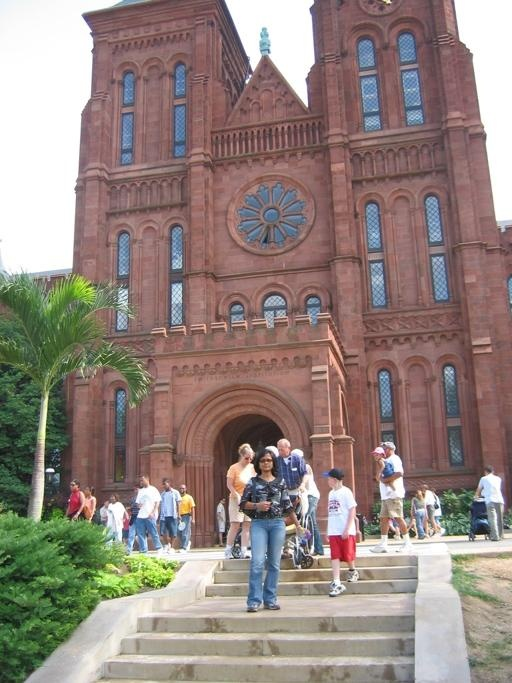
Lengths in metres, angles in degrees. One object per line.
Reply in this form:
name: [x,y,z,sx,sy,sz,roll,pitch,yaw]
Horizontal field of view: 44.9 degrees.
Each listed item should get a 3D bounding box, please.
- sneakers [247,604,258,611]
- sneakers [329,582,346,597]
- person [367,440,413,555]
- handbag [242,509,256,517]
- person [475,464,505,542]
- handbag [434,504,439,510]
sneakers: [-0.034,2.912,6.739,0.117,0.083,0.188,-1,-15,0]
sneakers: [1.028,3.175,7.928,0.173,0.192,0.530,-4,-15,8]
person: [2.324,2.717,10.948,0.596,1.905,1.097,-5,-16,11]
handbag: [-0.074,1.969,7.005,0.132,0.113,0.123,4,-22,-10]
person: [5.039,3.500,13.331,0.527,1.533,1.244,-7,-17,18]
handbag: [5.600,5.145,19.236,0.045,0.160,0.183,-5,-10,40]
